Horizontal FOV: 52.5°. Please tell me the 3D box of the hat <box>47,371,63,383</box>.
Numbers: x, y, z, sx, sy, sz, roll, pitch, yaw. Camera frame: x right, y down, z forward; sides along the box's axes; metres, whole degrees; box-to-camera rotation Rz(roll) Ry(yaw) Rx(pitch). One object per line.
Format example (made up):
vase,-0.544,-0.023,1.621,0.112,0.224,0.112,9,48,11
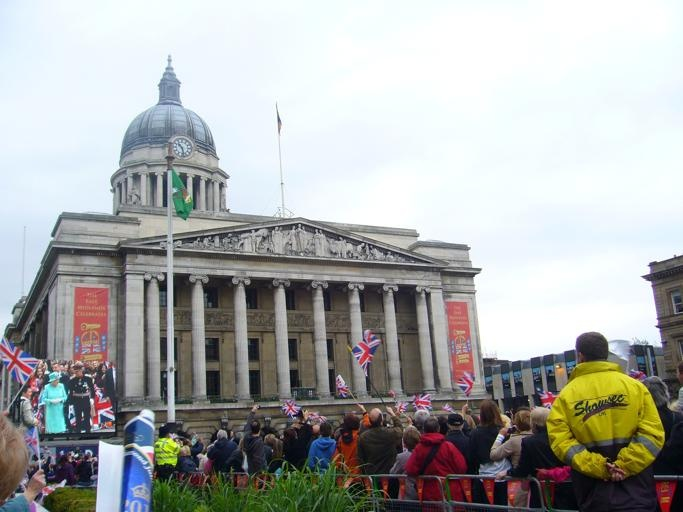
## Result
hat,-13.483,5.725,32.683,0.279,0.533,0.618,-14,-16,29
